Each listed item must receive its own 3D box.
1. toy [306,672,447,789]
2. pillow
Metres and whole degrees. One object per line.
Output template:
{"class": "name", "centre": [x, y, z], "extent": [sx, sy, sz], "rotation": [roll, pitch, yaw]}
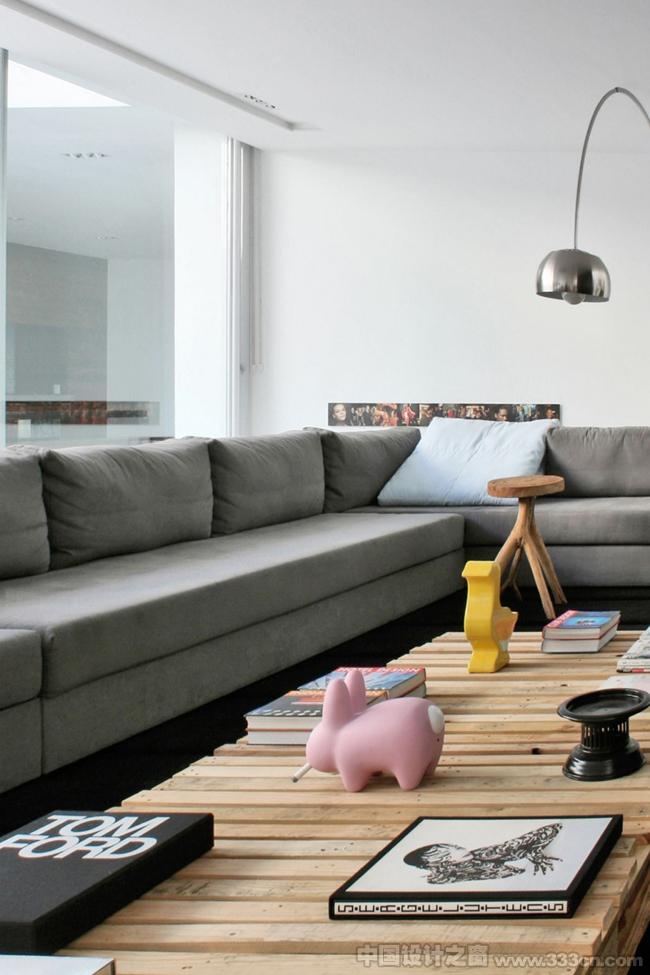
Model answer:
{"class": "toy", "centre": [0.073, 0.308, 1.067], "extent": [0.183, 0.150, 0.114], "rotation": [-7, -15, 17]}
{"class": "pillow", "centre": [0.775, -0.138, 4.605], "extent": [0.620, 0.159, 0.657], "rotation": [0, 37, 20]}
